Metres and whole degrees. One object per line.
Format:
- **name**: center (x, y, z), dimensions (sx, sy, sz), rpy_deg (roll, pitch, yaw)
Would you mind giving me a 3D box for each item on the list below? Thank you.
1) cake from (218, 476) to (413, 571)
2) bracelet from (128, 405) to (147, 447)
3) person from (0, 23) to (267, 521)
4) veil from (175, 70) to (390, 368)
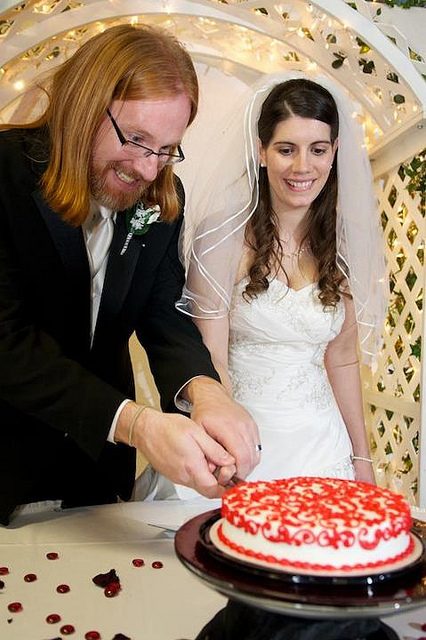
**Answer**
- **cake**: center (0.213, 0.406, 1.027), dimensions (0.367, 0.104, 0.446), rpy_deg (-5, -12, 19)
- **bracelet**: center (-0.193, 0.265, 1.250), dimensions (0.044, 0.096, 0.053), rpy_deg (1, -12, -11)
- **person**: center (-0.256, -0.245, 1.558), dimensions (0.714, 1.454, 0.596), rpy_deg (-2, -12, 3)
- **veil**: center (0.306, -0.526, 2.166), dimensions (1.026, 1.432, 0.322), rpy_deg (2, -2, -5)
